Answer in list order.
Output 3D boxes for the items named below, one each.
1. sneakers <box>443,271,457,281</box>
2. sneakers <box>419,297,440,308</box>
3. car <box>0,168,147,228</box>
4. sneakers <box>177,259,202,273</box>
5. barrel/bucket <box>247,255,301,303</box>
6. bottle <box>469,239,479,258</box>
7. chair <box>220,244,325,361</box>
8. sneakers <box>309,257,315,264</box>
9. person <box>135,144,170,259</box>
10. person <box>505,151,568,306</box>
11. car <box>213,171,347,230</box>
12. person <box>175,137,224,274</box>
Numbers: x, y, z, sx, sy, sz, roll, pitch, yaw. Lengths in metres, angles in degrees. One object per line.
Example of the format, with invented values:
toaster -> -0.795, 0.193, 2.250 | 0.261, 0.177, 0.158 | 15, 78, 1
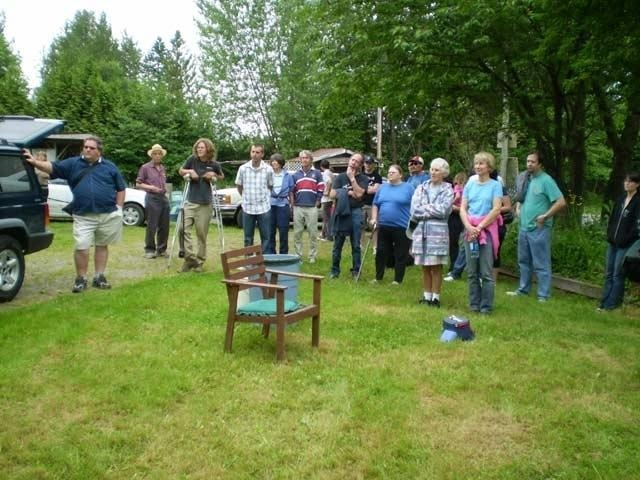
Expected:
sneakers -> 2.394, 0.680, 9.837 | 0.253, 0.120, 0.107 | 1, 0, -43
sneakers -> 1.615, 0.904, 7.826 | 0.117, 0.145, 0.322 | 1, 9, -26
car -> -6.517, -0.998, 14.339 | 3.244, 1.579, 1.751 | 9, -2, -10
sneakers -> -2.346, 0.458, 9.390 | 0.486, 0.236, 0.171 | 4, -5, -21
barrel/bucket -> -0.567, 0.497, 6.958 | 0.560, 0.599, 0.570 | 0, -2, 0
bottle -> 2.156, 0.125, 7.391 | 0.129, 0.250, 0.088 | 4, 13, 10
chair -> -0.546, 0.692, 6.067 | 0.928, 1.152, 1.019 | 4, 6, 34
sneakers -> -0.153, 0.409, 10.736 | 0.104, 0.184, 0.109 | 1, -3, 22
person -> -3.421, -0.808, 10.941 | 0.596, 2.247, 1.581 | -3, 14, -17
person -> 3.463, -0.185, 8.510 | 0.489, 2.323, 0.934 | -6, 15, -27
car -> -1.468, -1.093, 14.778 | 1.133, 1.394, 2.578 | 5, 8, -44
person -> -2.147, -0.575, 9.378 | 0.556, 2.298, 0.825 | 12, 17, 40
